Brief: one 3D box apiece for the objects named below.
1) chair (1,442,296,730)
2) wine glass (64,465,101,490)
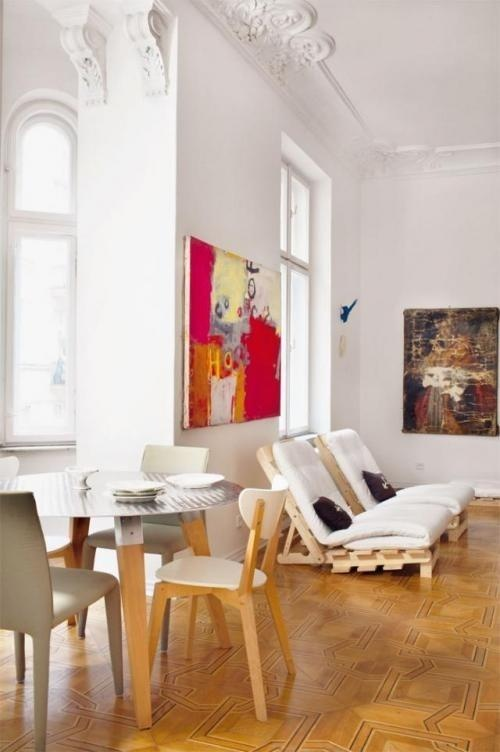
[{"bbox_3d":[-0.438,0.803,2.401,0.982,0.787,1.145,2,-4,-38],"label":"chair"},{"bbox_3d":[-0.672,0.415,2.457,0.112,0.063,0.110,4,-5,-31],"label":"wine glass"}]
